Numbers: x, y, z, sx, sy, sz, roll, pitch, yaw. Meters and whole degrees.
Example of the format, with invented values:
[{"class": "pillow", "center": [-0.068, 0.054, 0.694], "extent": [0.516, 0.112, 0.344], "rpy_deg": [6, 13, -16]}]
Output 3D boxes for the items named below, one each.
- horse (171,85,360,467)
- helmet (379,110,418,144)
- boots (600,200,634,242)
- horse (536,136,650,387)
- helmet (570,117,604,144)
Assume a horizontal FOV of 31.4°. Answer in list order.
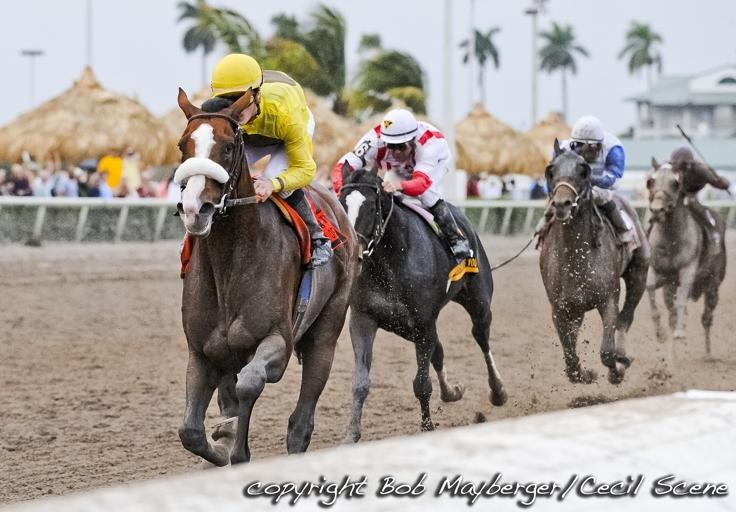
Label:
[{"class": "horse", "center": [-0.766, 0.159, 8.776], "extent": [0.675, 2.505, 1.405], "rpy_deg": [1, 1, 40]}, {"class": "helmet", "center": [0.235, -0.997, 10.095], "extent": [0.295, 0.285, 0.216], "rpy_deg": [0, 1, 0]}, {"class": "boots", "center": [2.104, -0.280, 11.147], "extent": [0.103, 0.325, 0.174], "rpy_deg": [-30, 11, 29]}, {"class": "horse", "center": [1.862, 0.062, 11.256], "extent": [0.935, 2.027, 1.890], "rpy_deg": [1, 1, 27]}, {"class": "helmet", "center": [1.855, -1.063, 11.030], "extent": [0.231, 0.180, 0.232], "rpy_deg": [7, -16, 6]}]
